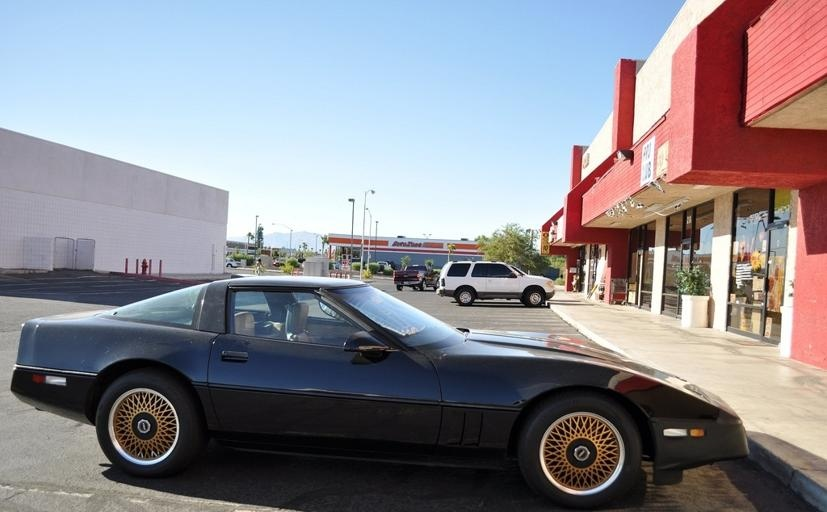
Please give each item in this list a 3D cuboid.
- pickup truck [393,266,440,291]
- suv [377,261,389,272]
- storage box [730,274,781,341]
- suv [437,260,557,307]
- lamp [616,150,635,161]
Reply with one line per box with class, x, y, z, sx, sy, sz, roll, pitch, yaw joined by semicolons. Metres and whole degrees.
pickup truck;0.413;1.674;38.034;1.686;1.225;3.668;0;2;19
suv;-4.921;1.789;83.270;1.638;1.263;2.433;0;-7;-2
storage box;9.226;1.402;13.226;0.633;1.554;1.731;1;3;-10
suv;4.104;1.449;24.841;5.080;1.845;2.411;-1;1;0
lamp;7.470;-3.487;16.938;0.701;0.302;0.518;3;-1;-33
